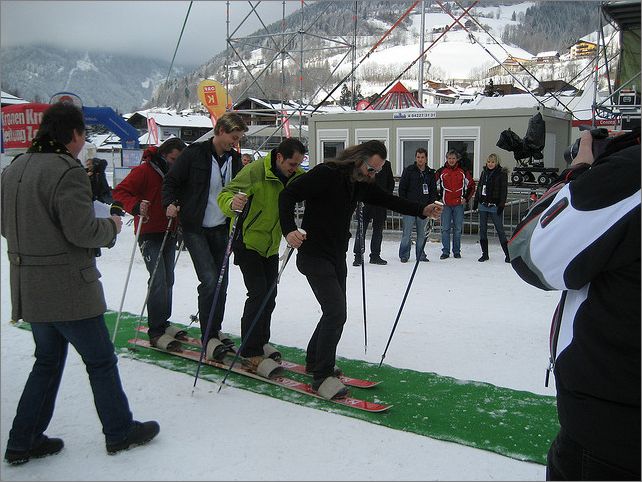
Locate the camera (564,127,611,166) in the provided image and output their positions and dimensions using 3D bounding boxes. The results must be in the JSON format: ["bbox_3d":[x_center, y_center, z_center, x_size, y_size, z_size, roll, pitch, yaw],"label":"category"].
[{"bbox_3d":[1.314,-0.476,2.832,0.138,0.259,0.238,2,15,-10],"label":"camera"}]

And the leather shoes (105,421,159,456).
[{"bbox_3d":[-1.180,1.252,3.601,0.119,0.185,0.357,14,21,34],"label":"leather shoes"}]

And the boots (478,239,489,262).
[{"bbox_3d":[2.709,0.145,9.337,0.158,0.363,0.263,3,9,24],"label":"boots"}]

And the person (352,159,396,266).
[{"bbox_3d":[0.959,-0.664,9.388,0.541,2.152,0.565,1,-21,-1],"label":"person"}]

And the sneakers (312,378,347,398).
[{"bbox_3d":[0.093,1.098,4.214,0.192,0.103,0.117,2,12,34],"label":"sneakers"}]

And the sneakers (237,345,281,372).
[{"bbox_3d":[-0.483,0.993,4.703,0.193,0.144,0.336,-4,22,-41],"label":"sneakers"}]

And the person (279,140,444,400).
[{"bbox_3d":[0.190,0.182,4.394,1.053,1.910,0.621,-3,9,-20],"label":"person"}]

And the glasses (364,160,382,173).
[{"bbox_3d":[0.403,-0.562,4.254,0.082,0.090,0.190,5,11,28],"label":"glasses"}]

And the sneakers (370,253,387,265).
[{"bbox_3d":[0.926,0.305,9.191,0.321,0.249,0.117,2,3,36],"label":"sneakers"}]
